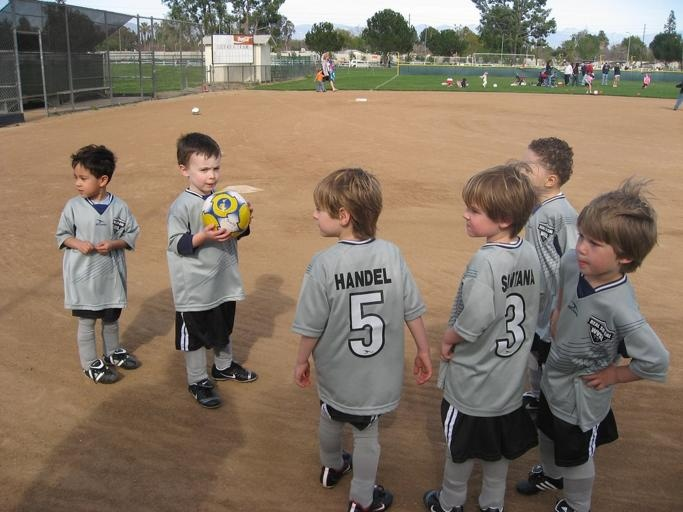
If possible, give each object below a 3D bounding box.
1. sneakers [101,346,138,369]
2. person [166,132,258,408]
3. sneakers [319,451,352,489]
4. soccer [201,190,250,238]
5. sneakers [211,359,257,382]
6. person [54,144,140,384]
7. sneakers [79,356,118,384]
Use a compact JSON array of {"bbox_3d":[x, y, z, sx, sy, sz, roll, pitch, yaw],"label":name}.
[{"bbox_3d":[-2.111,0.955,5.657,0.301,0.138,0.166,10,25,-13],"label":"sneakers"},{"bbox_3d":[-1.146,0.128,5.062,0.675,2.257,0.560,5,14,15],"label":"person"},{"bbox_3d":[-0.043,1.560,4.388,0.114,0.144,0.332,2,9,24],"label":"sneakers"},{"bbox_3d":[-0.936,-0.319,4.814,0.401,0.362,0.336,-2,14,-13],"label":"soccer"},{"bbox_3d":[-0.992,1.066,5.533,0.431,0.190,0.167,1,4,-6],"label":"sneakers"},{"bbox_3d":[-2.152,0.089,5.290,0.657,2.083,0.463,-8,16,-33],"label":"person"},{"bbox_3d":[-2.202,1.007,5.380,0.284,0.136,0.195,19,39,31],"label":"sneakers"}]
